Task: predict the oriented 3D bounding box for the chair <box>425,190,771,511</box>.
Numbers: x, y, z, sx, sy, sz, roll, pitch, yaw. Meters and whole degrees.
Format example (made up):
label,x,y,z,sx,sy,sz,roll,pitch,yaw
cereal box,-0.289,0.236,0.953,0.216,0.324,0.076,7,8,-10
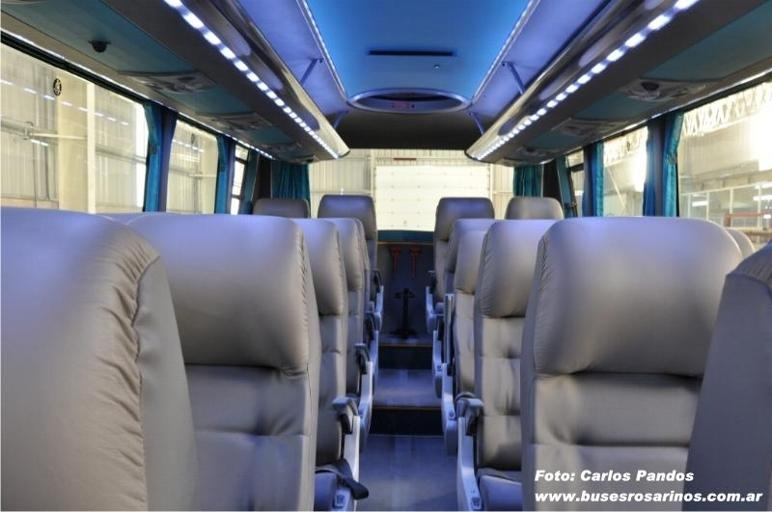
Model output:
label,x,y,z,sx,sy,sz,roll,pitch,yaw
chair,0.688,0.494,2.236,0.602,1.148,1.353,2,0,-6
